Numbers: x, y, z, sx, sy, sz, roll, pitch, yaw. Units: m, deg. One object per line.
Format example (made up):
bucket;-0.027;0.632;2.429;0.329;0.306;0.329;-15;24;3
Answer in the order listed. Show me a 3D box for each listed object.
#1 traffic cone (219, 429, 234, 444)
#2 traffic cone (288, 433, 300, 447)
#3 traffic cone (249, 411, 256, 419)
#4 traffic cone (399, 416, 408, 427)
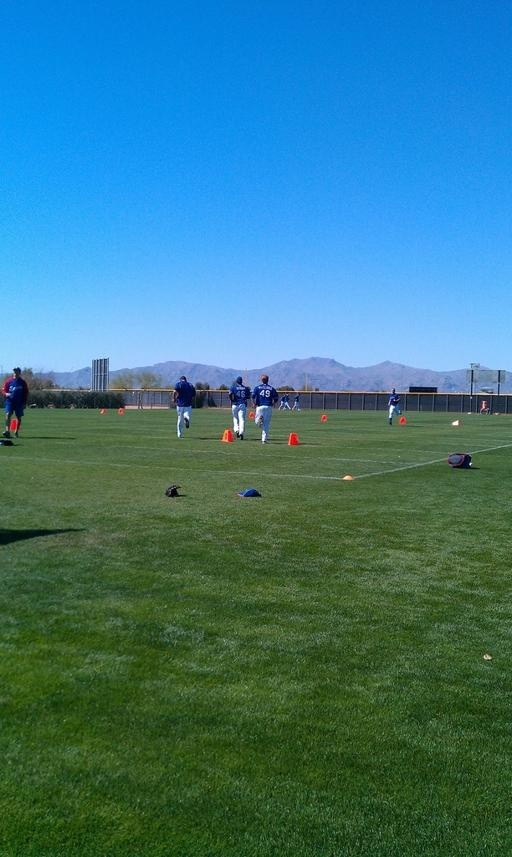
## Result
traffic cone;-0.890;0.287;24.747;0.417;0.419;0.424;-3;8;-17
traffic cone;1.096;0.367;23.473;0.340;0.365;0.336;-3;4;-30
traffic cone;-0.292;-0.909;56.238;0.565;0.680;0.658;1;-1;-10
traffic cone;8.245;-0.353;44.552;0.668;0.668;0.235;-9;7;-41
